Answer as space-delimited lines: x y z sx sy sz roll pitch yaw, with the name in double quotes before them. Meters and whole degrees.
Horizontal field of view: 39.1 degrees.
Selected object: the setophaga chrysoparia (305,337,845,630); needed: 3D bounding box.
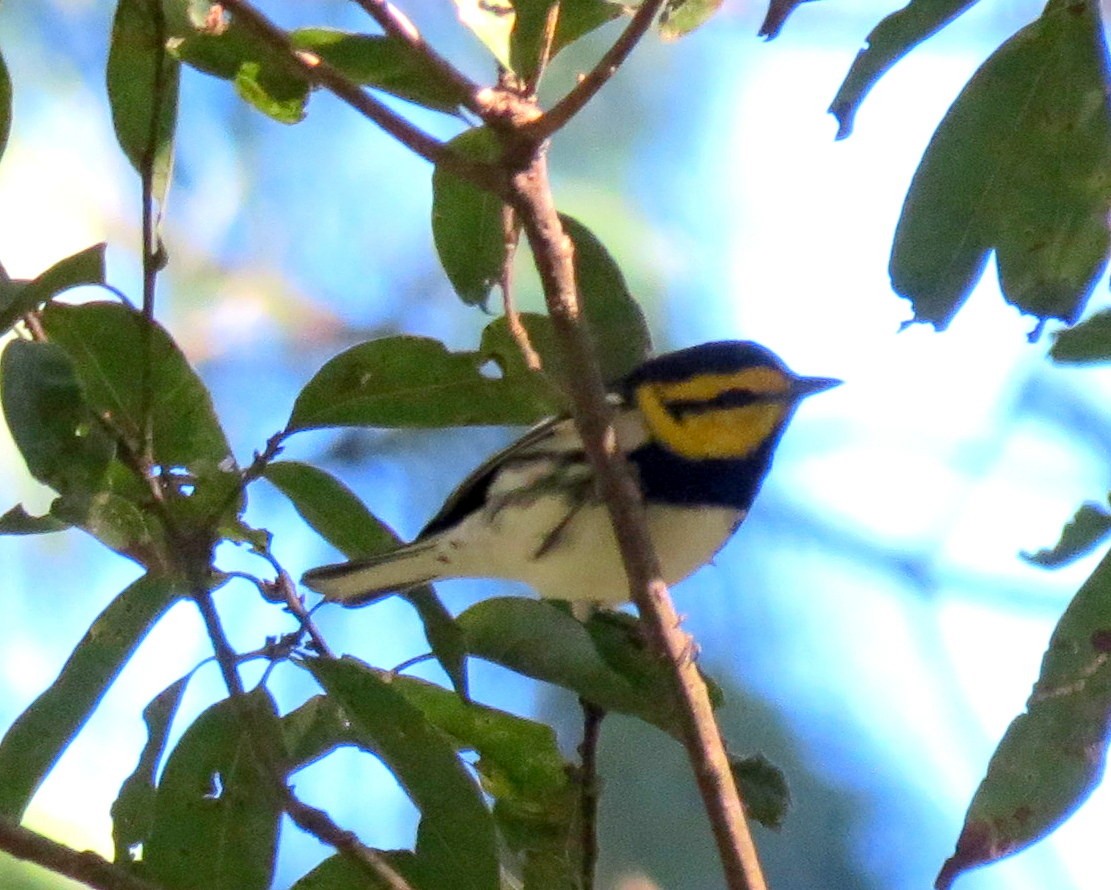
"setophaga chrysoparia" 0.082 0.055 1.936 0.729 0.327 0.270 -7 -33 3
